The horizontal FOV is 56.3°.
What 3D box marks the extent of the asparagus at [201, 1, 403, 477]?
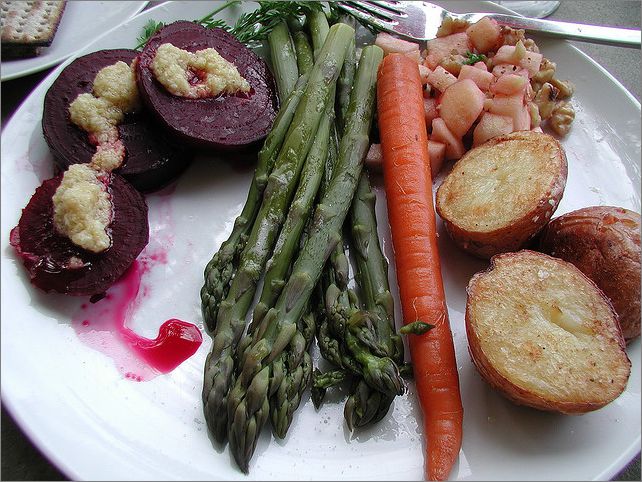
[{"bbox_3d":[-0.072,-0.150,2.700,0.691,0.426,2.089,2,59,-10],"label":"asparagus"}]
